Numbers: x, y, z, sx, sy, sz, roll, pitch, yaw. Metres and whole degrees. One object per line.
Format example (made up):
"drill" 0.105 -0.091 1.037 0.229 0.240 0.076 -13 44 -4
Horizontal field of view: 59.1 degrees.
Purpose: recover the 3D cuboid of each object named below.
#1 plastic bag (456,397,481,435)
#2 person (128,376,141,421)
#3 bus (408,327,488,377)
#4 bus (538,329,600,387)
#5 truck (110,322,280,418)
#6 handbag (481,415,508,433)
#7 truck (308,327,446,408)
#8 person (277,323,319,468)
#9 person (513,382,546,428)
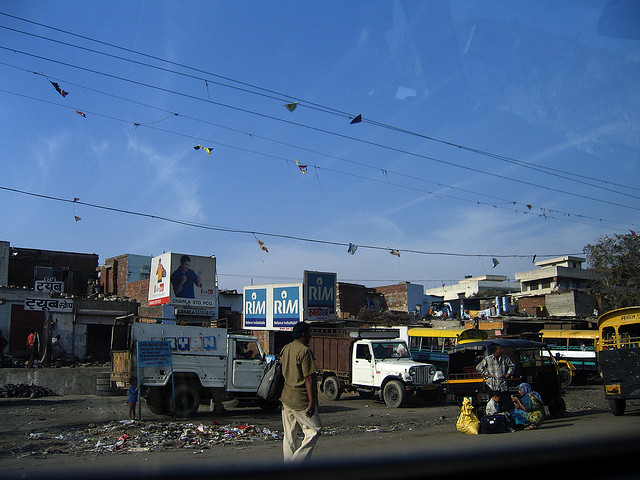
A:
"plastic bag" 3.754 4.548 14.435 0.697 0.772 0.424 1 2 10
"person" -5.400 4.607 16.401 0.341 1.214 0.977 1 -11 -18
"bus" 5.736 5.229 26.474 1.754 2.098 4.348 11 -13 -23
"bus" 12.624 5.907 28.163 2.301 2.685 2.384 -6 -11 19
"truck" -4.394 4.357 18.861 5.600 2.802 2.971 1 -6 -29
"handbag" 4.384 4.621 14.159 0.726 0.396 0.500 -5 -8 7
"truck" 2.183 5.122 23.053 2.483 2.770 5.896 9 -11 -37
"person" -0.429 2.814 10.569 0.666 2.459 0.640 1 -12 -15
"person" 5.517 4.358 14.886 0.807 1.063 0.797 -3 -11 4
